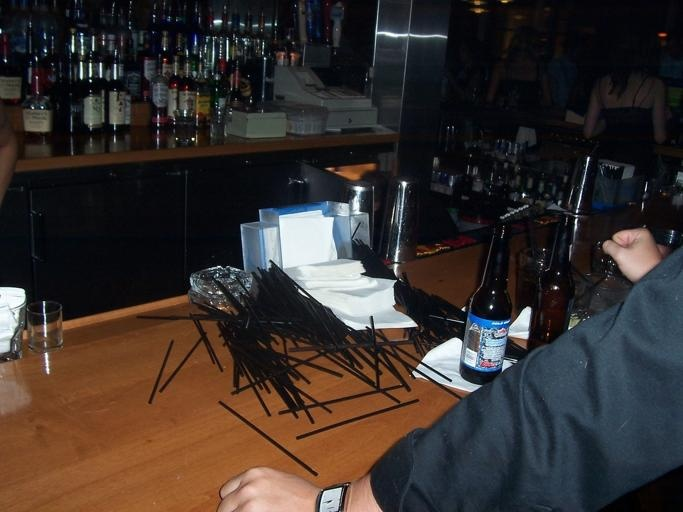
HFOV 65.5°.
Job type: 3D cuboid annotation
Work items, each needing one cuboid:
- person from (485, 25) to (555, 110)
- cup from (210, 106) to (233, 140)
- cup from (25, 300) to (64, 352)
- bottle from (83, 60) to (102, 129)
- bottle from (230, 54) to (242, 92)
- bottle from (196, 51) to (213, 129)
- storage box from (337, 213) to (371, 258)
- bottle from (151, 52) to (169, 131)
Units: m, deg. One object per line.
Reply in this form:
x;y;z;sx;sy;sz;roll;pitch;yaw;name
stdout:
1.257;-1.110;3.761;0.430;0.819;0.265;4;8;15;person
-0.671;-0.730;2.972;0.138;0.196;0.133;6;28;-3;cup
-0.671;0.164;1.174;0.089;0.098;0.100;-2;-3;-42;cup
-1.274;-0.804;2.702;0.107;0.342;0.102;0;16;0;bottle
-0.667;-1.133;3.344;0.072;0.212;0.235;-3;15;-10;bottle
-0.818;-0.963;3.134;0.094;0.417;0.460;-4;15;-13;bottle
0.005;-0.047;1.625;0.084;0.136;0.153;-3;0;-41;storage box
-1.047;-0.930;3.072;0.130;0.403;0.217;-6;17;-17;bottle
